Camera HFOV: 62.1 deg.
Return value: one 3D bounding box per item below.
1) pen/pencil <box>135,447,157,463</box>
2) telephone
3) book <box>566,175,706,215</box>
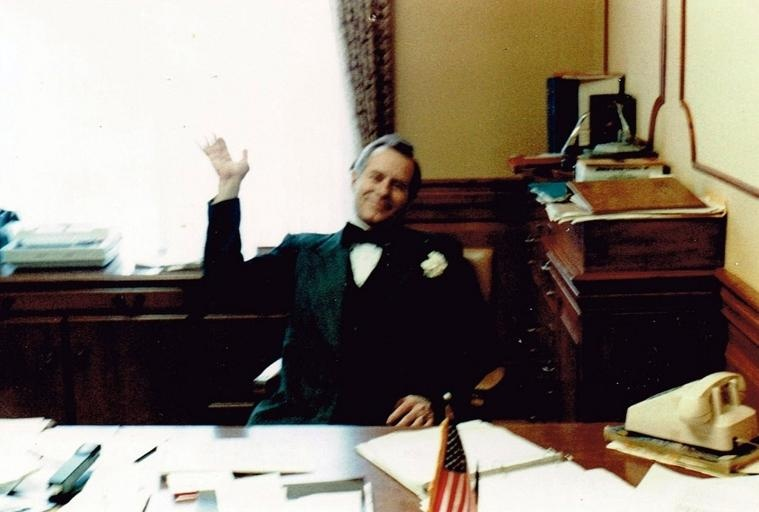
[{"bbox_3d":[-0.647,0.552,1.752,0.016,0.010,0.062,23,38,33],"label":"pen/pencil"},{"bbox_3d":[0.851,0.377,1.714,0.249,0.118,0.238,-5,4,-41],"label":"telephone"},{"bbox_3d":[0.844,-0.258,2.293,0.649,0.105,0.477,1,14,2],"label":"book"}]
